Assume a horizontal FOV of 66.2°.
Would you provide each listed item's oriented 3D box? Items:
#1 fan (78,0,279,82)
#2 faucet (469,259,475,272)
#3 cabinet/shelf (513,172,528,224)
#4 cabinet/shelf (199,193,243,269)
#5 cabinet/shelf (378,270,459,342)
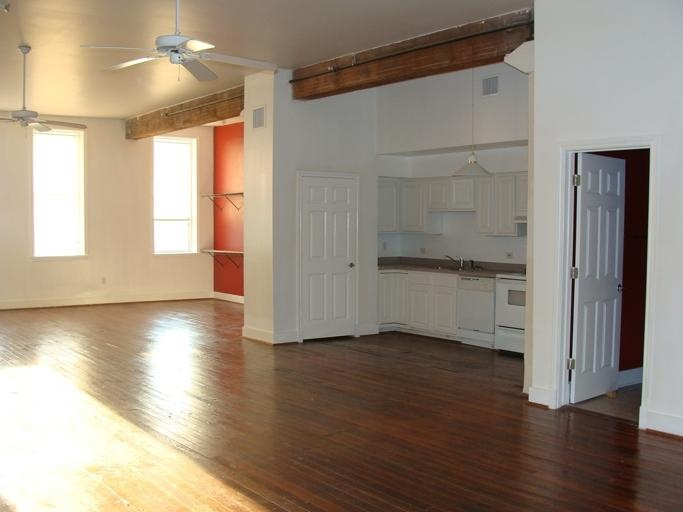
[{"bbox_3d":[-1.832,-2.450,5.887,1.058,0.554,1.022,7,12,25],"label":"fan"},{"bbox_3d":[2.115,0.142,8.458,0.089,0.154,0.153,-1,-1,0],"label":"faucet"},{"bbox_3d":[2.576,-0.856,7.545,0.075,0.710,0.235,-2,5,-30],"label":"cabinet/shelf"},{"bbox_3d":[-2.773,-0.632,12.052,1.704,1.572,0.623,3,1,45],"label":"cabinet/shelf"},{"bbox_3d":[1.348,0.761,8.529,0.947,1.151,1.693,3,-2,-45],"label":"cabinet/shelf"}]
